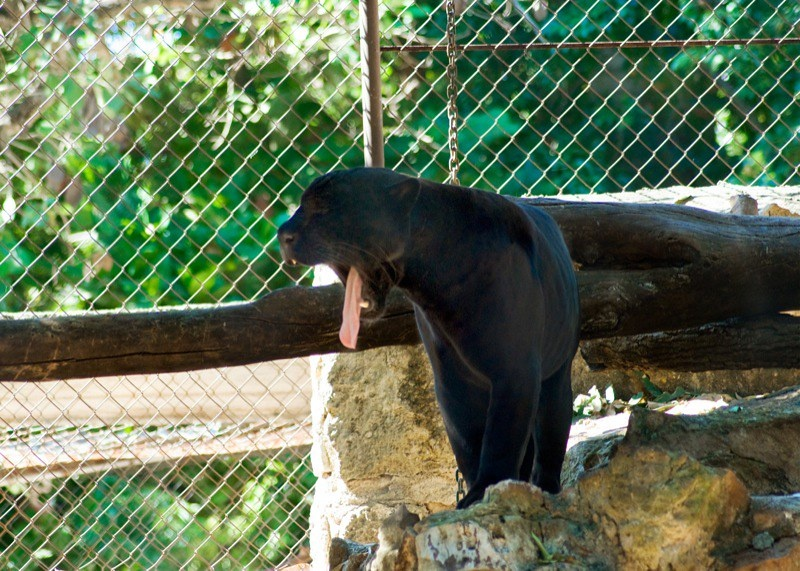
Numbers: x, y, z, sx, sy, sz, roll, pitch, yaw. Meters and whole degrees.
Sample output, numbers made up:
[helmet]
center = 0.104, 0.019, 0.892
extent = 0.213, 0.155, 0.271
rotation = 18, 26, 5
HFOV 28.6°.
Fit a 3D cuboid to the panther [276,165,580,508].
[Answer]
[panther]
center = 0.404, 0.331, 8.222
extent = 0.896, 1.773, 2.204
rotation = -1, -4, 31
